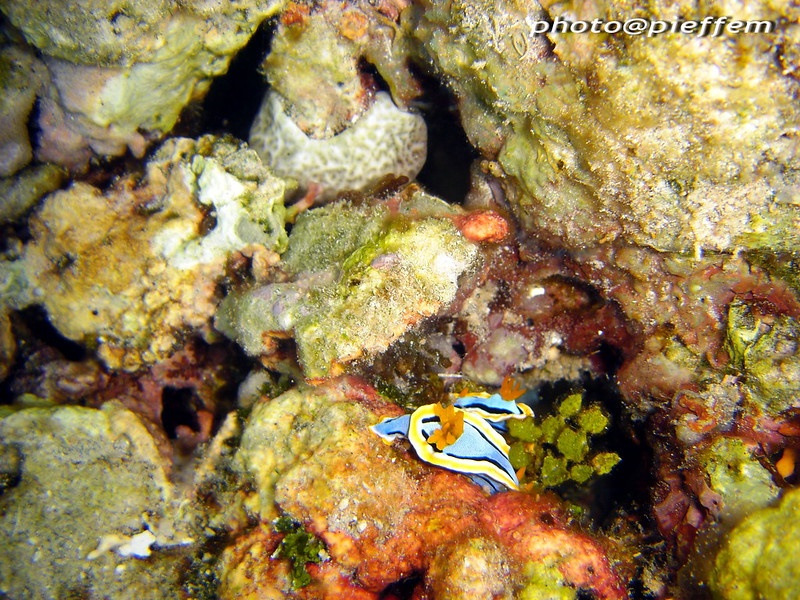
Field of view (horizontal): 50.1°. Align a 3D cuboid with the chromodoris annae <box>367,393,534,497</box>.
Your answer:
[{"bbox_3d":[0.333,0.884,5.551,0.643,0.240,0.723,8,25,6],"label":"chromodoris annae"}]
